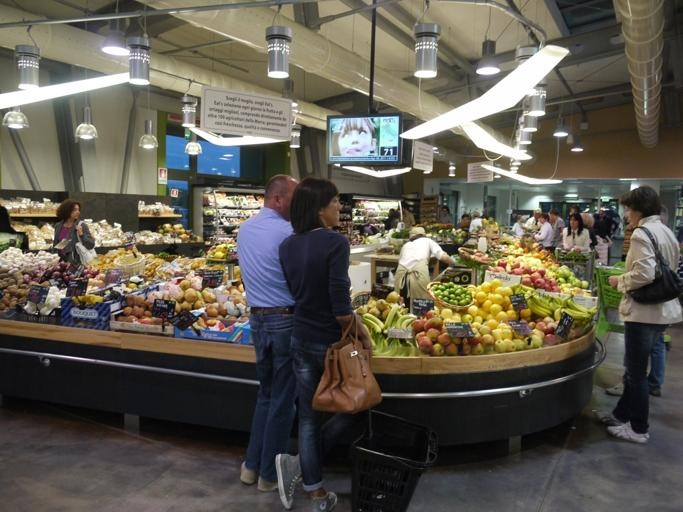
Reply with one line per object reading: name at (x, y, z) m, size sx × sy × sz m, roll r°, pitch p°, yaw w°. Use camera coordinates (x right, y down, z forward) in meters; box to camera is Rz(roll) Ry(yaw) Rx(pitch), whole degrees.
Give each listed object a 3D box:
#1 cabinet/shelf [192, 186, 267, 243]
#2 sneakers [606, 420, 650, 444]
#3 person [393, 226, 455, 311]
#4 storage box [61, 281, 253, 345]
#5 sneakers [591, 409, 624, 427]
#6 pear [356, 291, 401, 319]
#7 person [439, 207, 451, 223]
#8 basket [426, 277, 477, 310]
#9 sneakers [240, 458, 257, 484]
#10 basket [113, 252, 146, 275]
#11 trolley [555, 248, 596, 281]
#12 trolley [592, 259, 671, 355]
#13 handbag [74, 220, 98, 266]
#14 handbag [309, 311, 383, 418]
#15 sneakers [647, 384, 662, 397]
cabinet/shelf at (-2.520, -0.880, 9.962) m, size 0.534 × 1.586 × 1.688 m, roll -2°, pitch 0°, yaw 41°
sneakers at (2.424, 1.504, 4.070) m, size 0.353 × 0.163 × 0.143 m, roll 8°, pitch 0°, yaw 31°
person at (1.128, 0.230, 6.466) m, size 0.705 × 1.295 × 0.826 m, roll 2°, pitch 22°, yaw 8°
storage box at (-1.547, 0.444, 4.204) m, size 1.827 × 0.366 × 0.612 m, roll 4°, pitch 11°, yaw 14°
sneakers at (2.404, 1.467, 4.324) m, size 0.097 × 0.071 × 0.175 m, roll 8°, pitch 6°, yaw -28°
pear at (0.347, 0.440, 4.236) m, size 0.243 × 0.119 × 0.294 m, roll 3°, pitch 3°, yaw 24°
person at (3.858, -1.530, 17.642) m, size 0.436 × 0.549 × 1.083 m, roll 3°, pitch 11°, yaw 11°
basket at (0.994, 0.355, 4.332) m, size 0.269 × 0.125 × 0.271 m, roll 11°, pitch 10°, yaw 43°
sneakers at (-0.668, 1.556, 3.435) m, size 0.087 × 0.118 × 0.171 m, roll 4°, pitch 6°, yaw -1°
basket at (-2.387, 0.085, 5.379) m, size 0.285 × 0.200 × 0.291 m, roll 2°, pitch -2°, yaw 2°
trolley at (3.496, 0.095, 7.057) m, size 0.723 × 0.466 × 0.742 m, roll 0°, pitch 8°, yaw 20°
trolley at (3.907, 0.625, 6.255) m, size 0.920 × 1.204 × 0.978 m, roll 6°, pitch -6°, yaw 26°
handbag at (-3.163, -0.162, 5.877) m, size 0.233 × 0.504 × 0.368 m, roll -7°, pitch 13°, yaw -39°
handbag at (0.014, 0.739, 2.928) m, size 0.390 × 0.696 × 0.268 m, roll -5°, pitch 12°, yaw -31°
sneakers at (3.198, 1.376, 4.840) m, size 0.072 × 0.086 × 0.202 m, roll -3°, pitch -11°, yaw 29°
